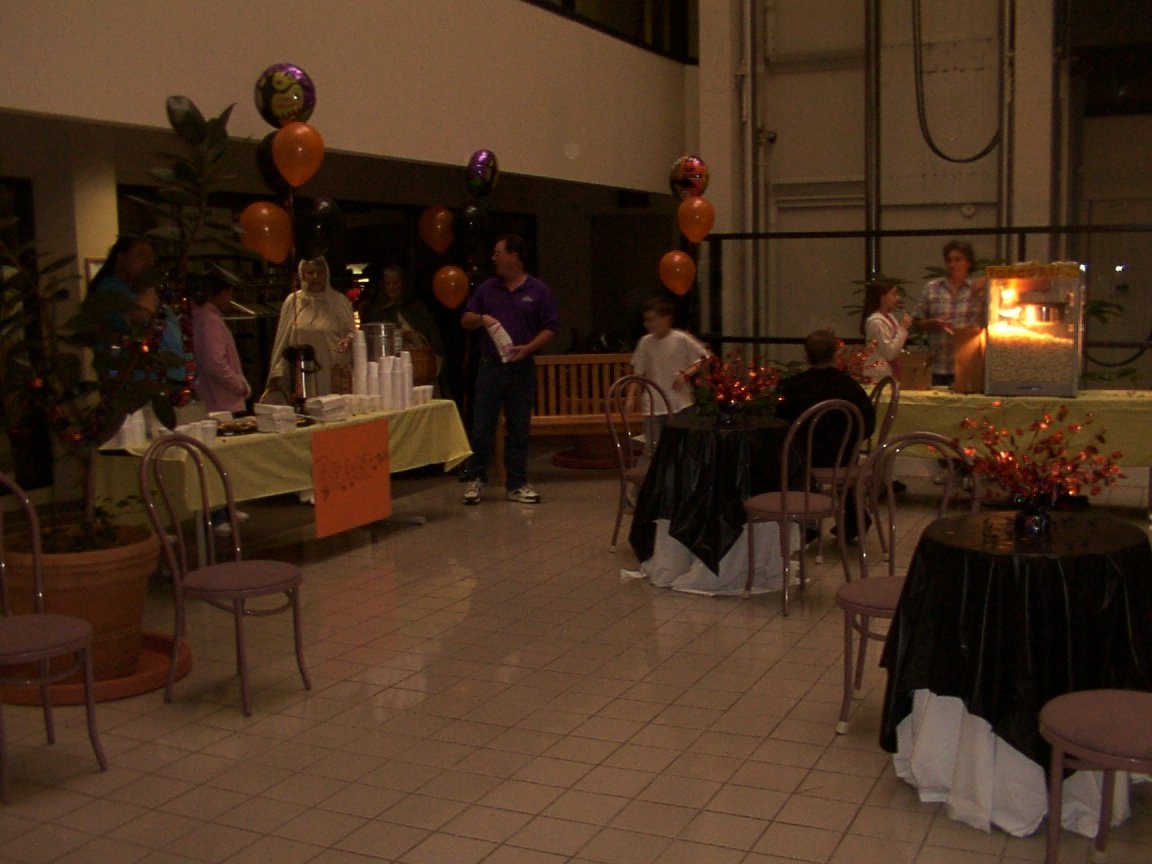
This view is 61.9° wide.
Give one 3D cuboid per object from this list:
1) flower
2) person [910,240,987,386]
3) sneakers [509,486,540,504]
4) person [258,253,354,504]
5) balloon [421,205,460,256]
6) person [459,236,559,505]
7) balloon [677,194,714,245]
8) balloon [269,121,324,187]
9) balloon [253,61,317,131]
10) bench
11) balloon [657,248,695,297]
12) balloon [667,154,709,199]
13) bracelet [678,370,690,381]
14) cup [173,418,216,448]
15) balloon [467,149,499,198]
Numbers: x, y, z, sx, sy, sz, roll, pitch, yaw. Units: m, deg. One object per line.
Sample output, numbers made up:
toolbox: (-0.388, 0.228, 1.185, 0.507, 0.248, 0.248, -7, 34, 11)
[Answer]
flower: (2.516, 0.055, 5.223, 0.625, 0.432, 0.633, 8, 16, 44)
person: (3.019, -0.974, 7.771, 0.496, 1.121, 1.726, 2, 10, 20)
sneakers: (-0.424, 0.532, 8.119, 0.261, 0.116, 0.113, 1, 6, 34)
person: (-2.110, -0.527, 7.778, 0.678, 1.742, 0.504, -5, 29, -19)
balloon: (-1.237, -1.754, 8.410, 0.372, 0.483, 0.394, -5, 16, -18)
person: (-0.552, -0.466, 7.827, 0.800, 2.170, 0.532, -2, 9, -2)
balloon: (1.066, -1.985, 8.856, 0.400, 0.501, 0.408, 0, -1, -5)
balloon: (-1.792, -1.785, 6.215, 0.349, 0.446, 0.354, 1, 2, -38)
balloon: (-1.909, -2.195, 6.265, 0.376, 0.422, 0.290, -3, 10, -12)
bench: (-0.064, -0.167, 8.609, 1.192, 0.962, 0.447, 0, 3, -7)
balloon: (0.909, -1.434, 8.663, 0.275, 0.366, 0.308, -1, 10, 2)
balloon: (1.057, -2.366, 8.937, 0.316, 0.380, 0.338, -1, 10, 1)
bracelet: (0.769, -0.397, 6.806, 0.084, 0.048, 0.047, -1, -2, 3)
cup: (-2.212, -0.007, 5.625, 0.202, 0.115, 0.251, 2, 1, 27)
balloon: (-0.785, -2.167, 8.030, 0.231, 0.421, 0.494, -2, 10, -6)
